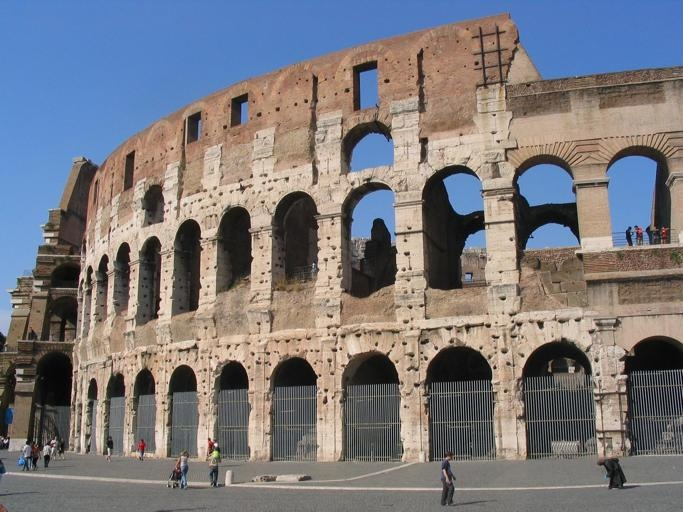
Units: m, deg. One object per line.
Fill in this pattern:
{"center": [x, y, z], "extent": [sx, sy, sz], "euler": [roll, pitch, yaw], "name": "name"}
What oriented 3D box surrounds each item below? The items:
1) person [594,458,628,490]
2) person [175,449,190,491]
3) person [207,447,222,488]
{"center": [6.942, 5.542, 22.892], "extent": [0.568, 0.781, 0.680], "euler": [-8, -19, 19], "name": "person"}
{"center": [-4.589, 6.139, 25.778], "extent": [0.313, 1.100, 1.204], "euler": [2, -18, -10], "name": "person"}
{"center": [-3.666, 6.031, 25.816], "extent": [0.233, 1.174, 0.627], "euler": [2, -18, -11], "name": "person"}
